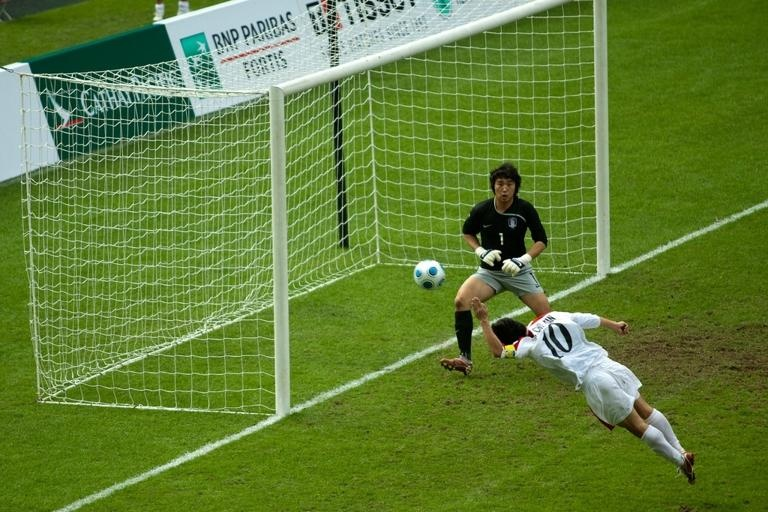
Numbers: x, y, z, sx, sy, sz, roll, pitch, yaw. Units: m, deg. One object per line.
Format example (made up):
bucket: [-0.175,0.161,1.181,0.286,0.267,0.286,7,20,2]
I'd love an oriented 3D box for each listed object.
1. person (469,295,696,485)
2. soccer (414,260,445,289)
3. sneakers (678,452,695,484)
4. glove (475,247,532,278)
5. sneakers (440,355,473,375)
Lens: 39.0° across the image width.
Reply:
person: [2.322,1.155,11.893,2.752,1.014,1.507,27,30,22]
soccer: [0.622,0.232,13.893,0.399,0.356,0.353,6,72,7]
sneakers: [3.191,2.215,11.443,0.211,0.369,0.159,-9,20,5]
glove: [1.380,0.045,12.746,0.411,0.429,0.154,17,84,42]
sneakers: [0.893,1.327,13.148,0.444,0.170,0.217,13,62,1]
